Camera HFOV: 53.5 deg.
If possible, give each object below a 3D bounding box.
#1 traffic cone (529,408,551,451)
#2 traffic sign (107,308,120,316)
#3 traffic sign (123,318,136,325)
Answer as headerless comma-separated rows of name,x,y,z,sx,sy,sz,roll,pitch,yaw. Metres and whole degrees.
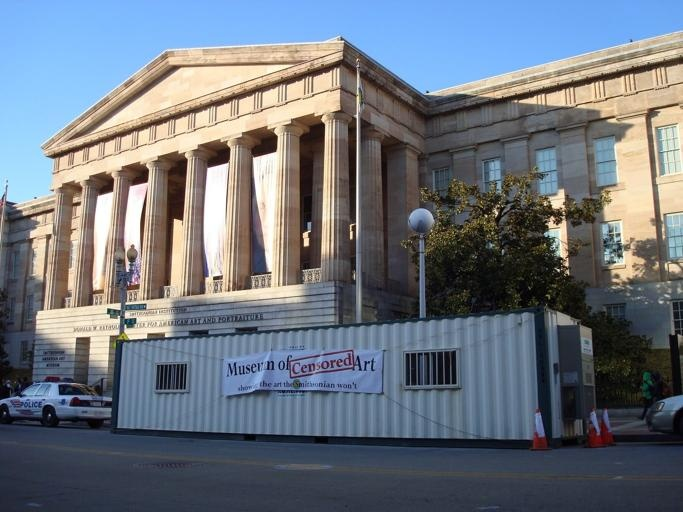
traffic cone,4.969,4.361,17.170,0.375,1.007,0.422,-6,-13,18
traffic sign,-10.345,2.557,30.654,0.483,0.359,0.519,-2,-2,-21
traffic sign,-10.187,3.099,32.288,0.726,0.163,0.662,-2,-19,0
